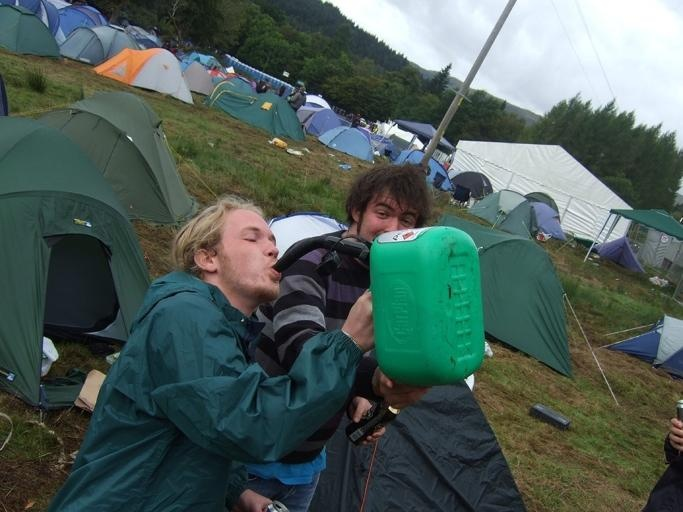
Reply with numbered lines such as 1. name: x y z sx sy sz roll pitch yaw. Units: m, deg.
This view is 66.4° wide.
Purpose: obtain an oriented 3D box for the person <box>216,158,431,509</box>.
1. person: -0.089 0.568 3.458 1.156 2.359 1.015 12 16 7

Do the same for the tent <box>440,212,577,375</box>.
1. tent: 2.815 0.609 9.158 2.301 1.099 2.445 34 31 2
